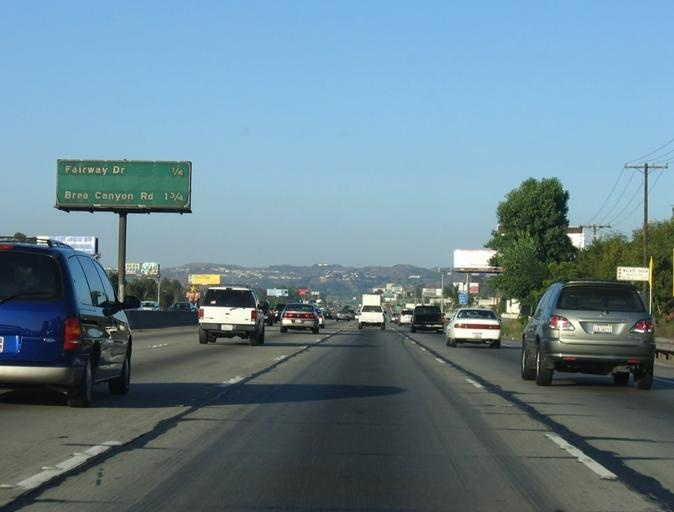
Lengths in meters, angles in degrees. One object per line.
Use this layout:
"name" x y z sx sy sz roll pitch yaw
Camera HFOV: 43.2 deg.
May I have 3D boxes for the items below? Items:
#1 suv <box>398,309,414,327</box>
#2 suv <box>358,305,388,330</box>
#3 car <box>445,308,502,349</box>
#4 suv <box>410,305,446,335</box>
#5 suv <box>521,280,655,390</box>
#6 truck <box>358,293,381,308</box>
"suv" 7.789 6.809 95.307 1.907 1.615 3.255 1 3 4
"suv" 2.920 5.000 69.742 1.965 1.833 2.354 -2 -2 9
"car" 6.030 3.072 36.369 2.151 1.684 4.086 2 -3 4
"suv" 6.319 4.473 59.385 2.235 1.898 2.745 -2 -2 4
"suv" 5.180 1.603 17.613 2.626 2.226 1.853 -3 -2 29
"truck" 4.416 5.283 108.319 2.542 1.711 1.393 0 -5 2
